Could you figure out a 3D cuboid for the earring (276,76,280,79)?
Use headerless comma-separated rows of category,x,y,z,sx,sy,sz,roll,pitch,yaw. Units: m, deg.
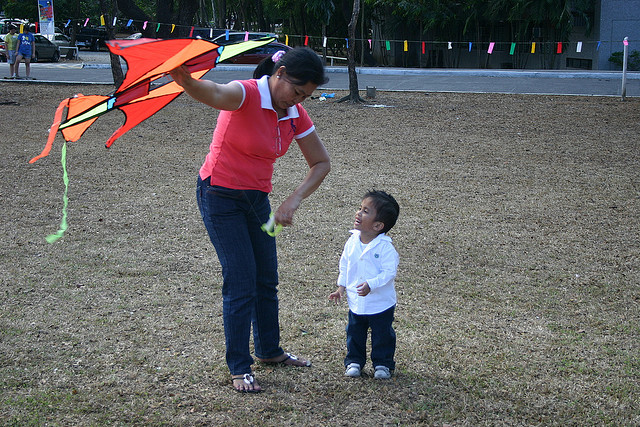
earring,-0.284,-0.916,3.721,0.026,0.017,0.005,7,13,31

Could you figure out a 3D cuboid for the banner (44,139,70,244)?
banner,-2.233,-0.146,4.720,0.201,0.771,0.097,-1,-13,-9

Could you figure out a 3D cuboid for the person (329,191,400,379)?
person,0.329,0.551,4.216,0.504,1.426,0.275,0,11,2
